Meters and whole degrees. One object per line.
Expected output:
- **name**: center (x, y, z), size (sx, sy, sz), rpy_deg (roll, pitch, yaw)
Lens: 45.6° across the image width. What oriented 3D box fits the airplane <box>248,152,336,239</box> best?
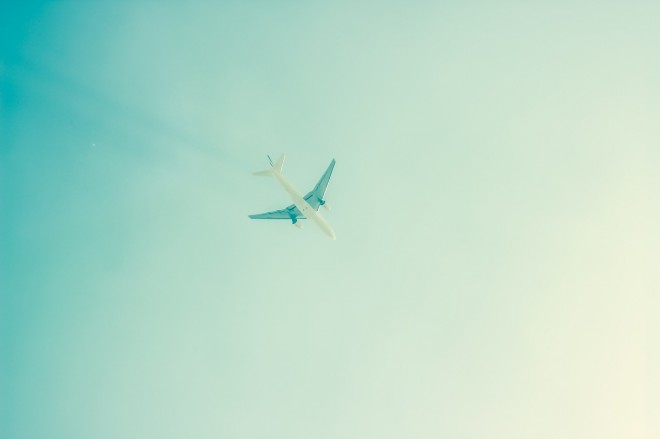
- **airplane**: center (-2.042, -1.269, 57.269), size (5.983, 1.502, 6.117), rpy_deg (-43, -76, 1)
